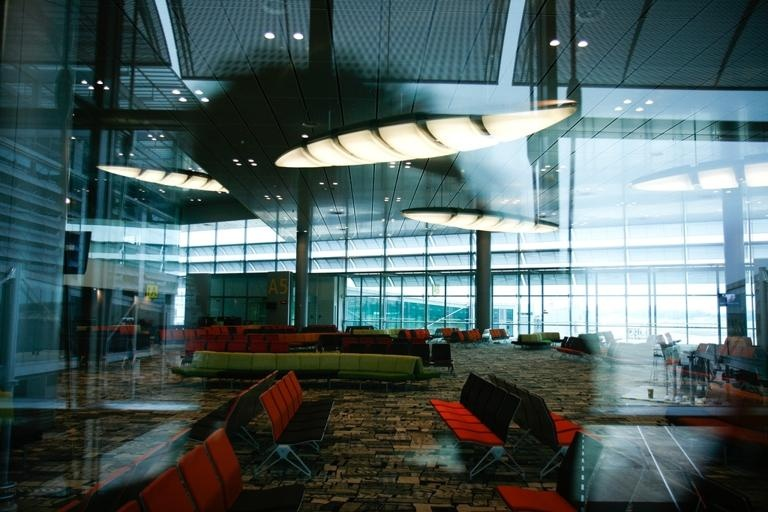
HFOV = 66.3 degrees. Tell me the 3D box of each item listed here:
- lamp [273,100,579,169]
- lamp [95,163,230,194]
[{"bbox_3d":[0.919,-2.780,13.236,6.017,0.427,0.923,-5,-6,19],"label":"lamp"},{"bbox_3d":[-4.917,-1.805,13.635,0.415,0.208,2.777,8,2,38],"label":"lamp"}]
